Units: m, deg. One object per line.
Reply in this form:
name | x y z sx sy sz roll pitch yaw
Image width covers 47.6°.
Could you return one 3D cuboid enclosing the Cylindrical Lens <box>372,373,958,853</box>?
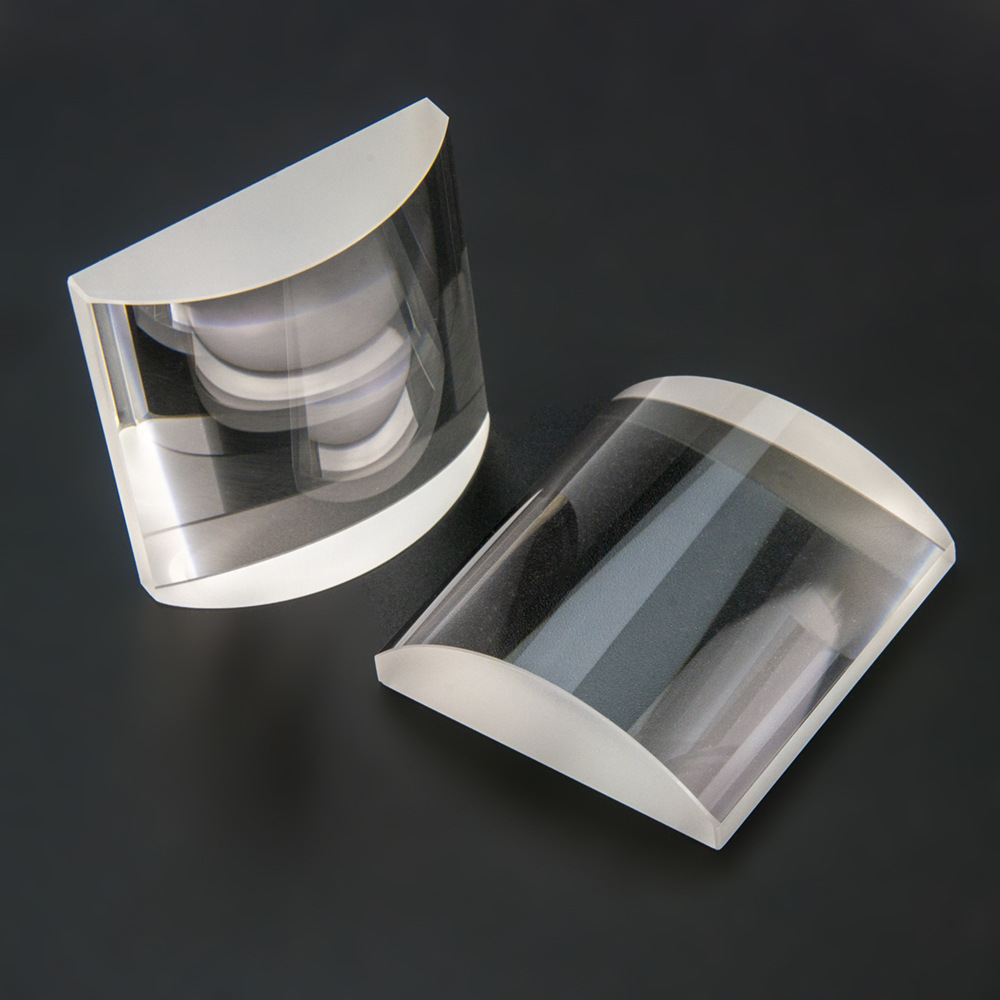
Cylindrical Lens | 0.118 0.054 0.759 0.263 0.116 0.334 36 73 19
